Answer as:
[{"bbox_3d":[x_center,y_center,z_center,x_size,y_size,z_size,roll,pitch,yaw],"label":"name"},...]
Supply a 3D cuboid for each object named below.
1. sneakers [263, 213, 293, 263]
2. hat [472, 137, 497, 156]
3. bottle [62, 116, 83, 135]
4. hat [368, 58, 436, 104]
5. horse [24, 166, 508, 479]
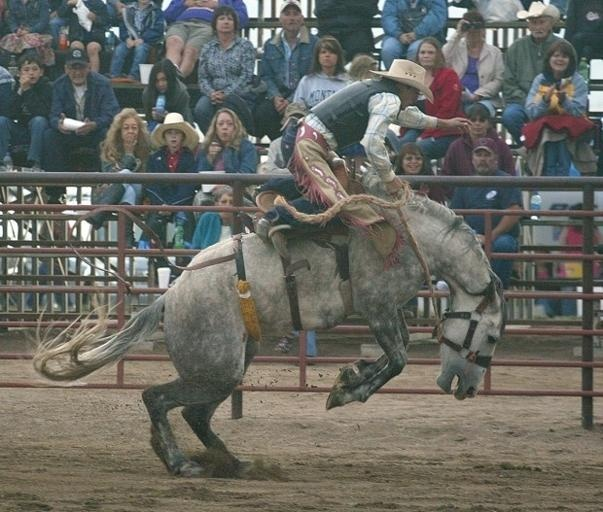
[{"bbox_3d":[-0.167,-0.108,14.688,0.244,0.298,0.111,-8,7,41],"label":"sneakers"},{"bbox_3d":[2.008,-1.180,18.239,0.249,0.154,0.222,2,11,5],"label":"hat"},{"bbox_3d":[-2.653,-1.513,19.588,0.223,0.072,0.157,-6,27,-27],"label":"bottle"},{"bbox_3d":[0.940,-1.523,14.822,0.451,0.169,0.366,22,-4,-12],"label":"hat"},{"bbox_3d":[-0.361,0.627,14.759,4.580,2.163,0.870,-7,1,-19],"label":"horse"}]
